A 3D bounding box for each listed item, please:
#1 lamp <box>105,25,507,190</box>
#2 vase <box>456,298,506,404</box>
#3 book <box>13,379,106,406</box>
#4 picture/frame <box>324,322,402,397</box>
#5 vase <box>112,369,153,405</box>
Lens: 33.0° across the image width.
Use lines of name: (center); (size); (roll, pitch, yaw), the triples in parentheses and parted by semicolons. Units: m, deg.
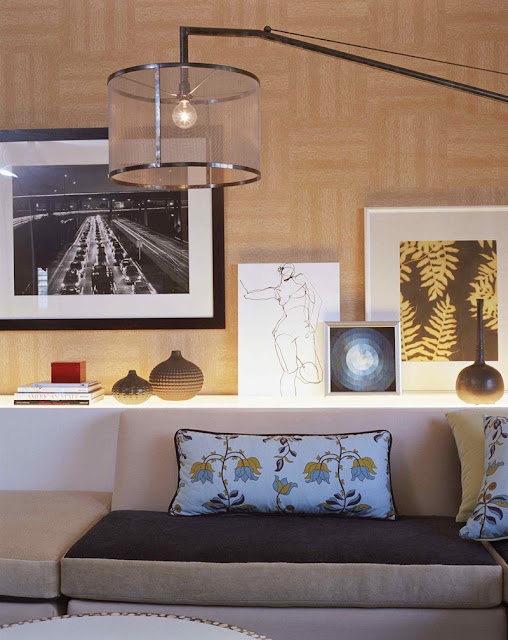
lamp: (-0.065, -0.596, 2.391); (0.762, 0.405, 0.394); (1, 2, 37)
vase: (0.905, 0.132, 3.488); (0.173, 0.421, 0.210); (-1, 2, -8)
book: (-0.823, 0.311, 3.624); (0.335, 0.086, 0.211); (0, 2, 0)
picture/frame: (0.468, 0.182, 3.661); (0.309, 0.314, 0.031); (0, -4, 1)
vase: (-0.504, 0.290, 3.586); (0.128, 0.119, 0.130); (-1, -2, -2)
